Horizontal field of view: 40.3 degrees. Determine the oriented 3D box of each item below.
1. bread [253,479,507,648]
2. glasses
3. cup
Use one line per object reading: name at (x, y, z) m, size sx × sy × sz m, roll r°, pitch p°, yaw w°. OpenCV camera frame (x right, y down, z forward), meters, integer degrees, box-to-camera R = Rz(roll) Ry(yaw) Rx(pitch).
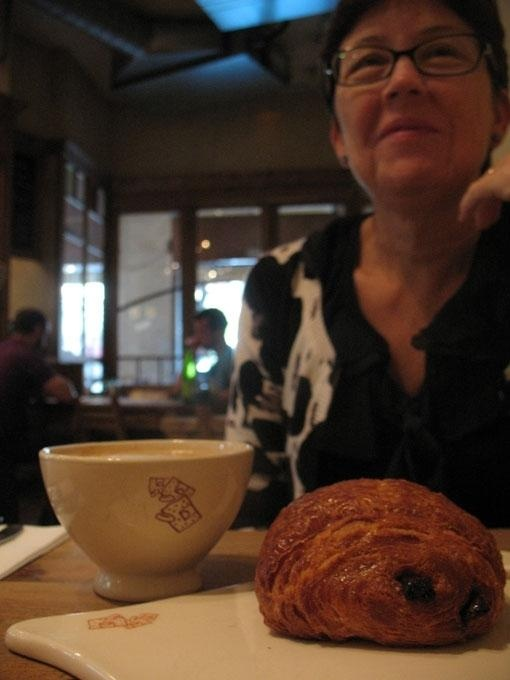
bread at (0.060, 0.117, 0.355) m, size 0.100 × 0.049 × 0.094 m, roll 10°, pitch -16°, yaw -31°
glasses at (0.129, -0.232, 0.578) m, size 0.124 × 0.045 × 0.040 m, roll -1°, pitch -2°, yaw 14°
cup at (-0.061, 0.097, 0.425) m, size 0.117 × 0.069 × 0.106 m, roll 0°, pitch -2°, yaw -4°
